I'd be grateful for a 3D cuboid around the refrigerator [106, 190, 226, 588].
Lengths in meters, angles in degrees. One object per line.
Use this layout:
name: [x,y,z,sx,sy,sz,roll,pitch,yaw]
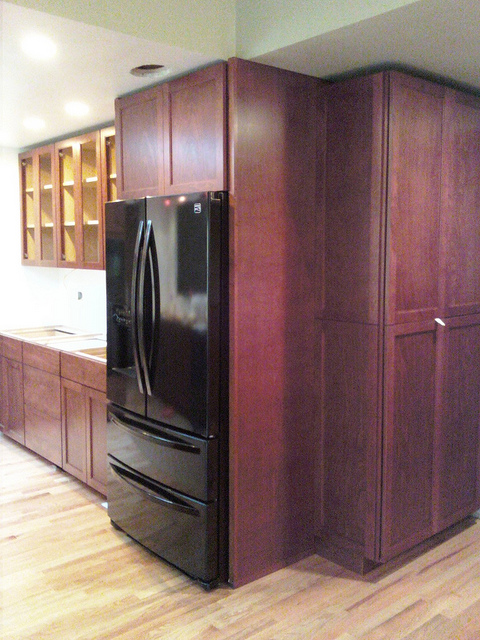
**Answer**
refrigerator: [-0.285,0.240,2.396,0.655,1.593,0.507,7,10,37]
